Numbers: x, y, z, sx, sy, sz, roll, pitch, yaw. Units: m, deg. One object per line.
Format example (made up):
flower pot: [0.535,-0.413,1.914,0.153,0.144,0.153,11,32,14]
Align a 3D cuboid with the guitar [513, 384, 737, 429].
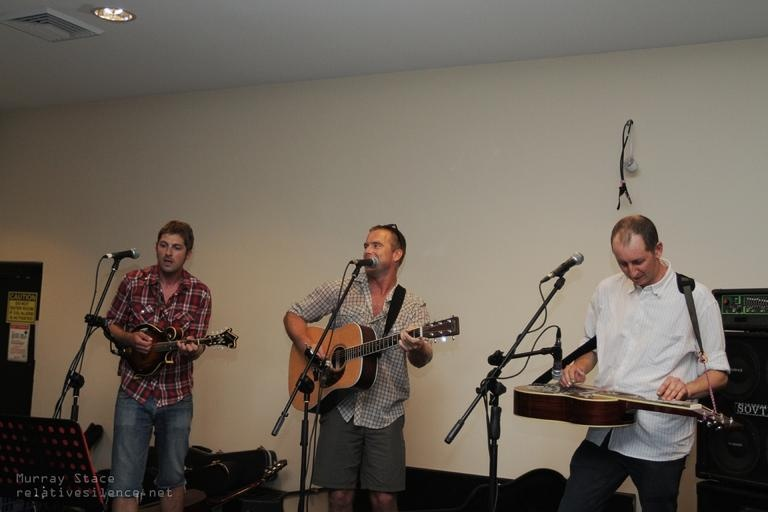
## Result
guitar: [1.350,0.808,3.207,0.340,0.133,0.856,2,-1,-43]

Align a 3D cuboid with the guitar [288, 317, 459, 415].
guitar: [-0.204,0.712,3.778,1.291,0.613,0.557,-6,-10,40]

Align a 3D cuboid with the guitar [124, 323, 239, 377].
guitar: [-1.482,0.653,4.108,0.856,0.366,0.188,-2,-8,18]

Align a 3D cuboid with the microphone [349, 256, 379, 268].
microphone: [-0.126,0.044,3.858,0.069,0.075,0.250,21,5,26]

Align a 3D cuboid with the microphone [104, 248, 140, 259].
microphone: [-2.084,-0.029,4.670,0.232,0.074,0.074,-11,4,-8]

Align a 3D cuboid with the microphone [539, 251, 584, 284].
microphone: [1.288,0.074,4.186,0.313,0.088,0.085,-34,22,-14]
